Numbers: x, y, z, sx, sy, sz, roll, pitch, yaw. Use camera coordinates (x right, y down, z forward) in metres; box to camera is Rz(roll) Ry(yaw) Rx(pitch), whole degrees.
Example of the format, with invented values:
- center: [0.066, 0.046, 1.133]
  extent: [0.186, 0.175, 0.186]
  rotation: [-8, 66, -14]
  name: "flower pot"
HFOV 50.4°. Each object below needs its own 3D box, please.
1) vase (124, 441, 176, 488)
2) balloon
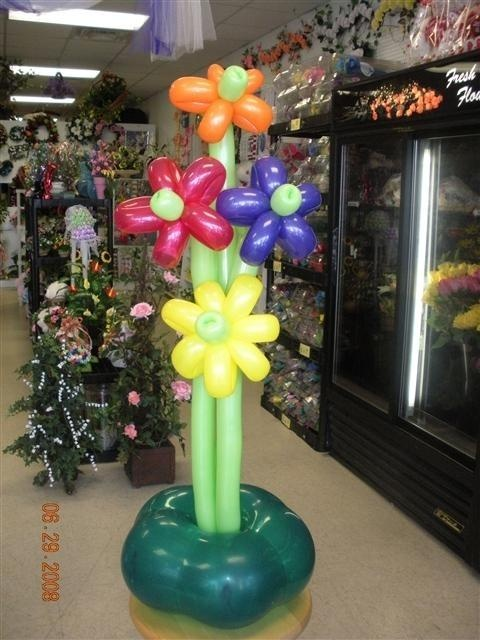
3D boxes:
- center: [-0.489, 0.744, 2.748]
  extent: [0.245, 0.202, 0.227]
  rotation: [-1, 4, -21]
  name: "vase"
- center: [-0.064, 0.081, 1.068]
  extent: [0.476, 1.260, 0.433]
  rotation: [3, 8, 9]
  name: "balloon"
